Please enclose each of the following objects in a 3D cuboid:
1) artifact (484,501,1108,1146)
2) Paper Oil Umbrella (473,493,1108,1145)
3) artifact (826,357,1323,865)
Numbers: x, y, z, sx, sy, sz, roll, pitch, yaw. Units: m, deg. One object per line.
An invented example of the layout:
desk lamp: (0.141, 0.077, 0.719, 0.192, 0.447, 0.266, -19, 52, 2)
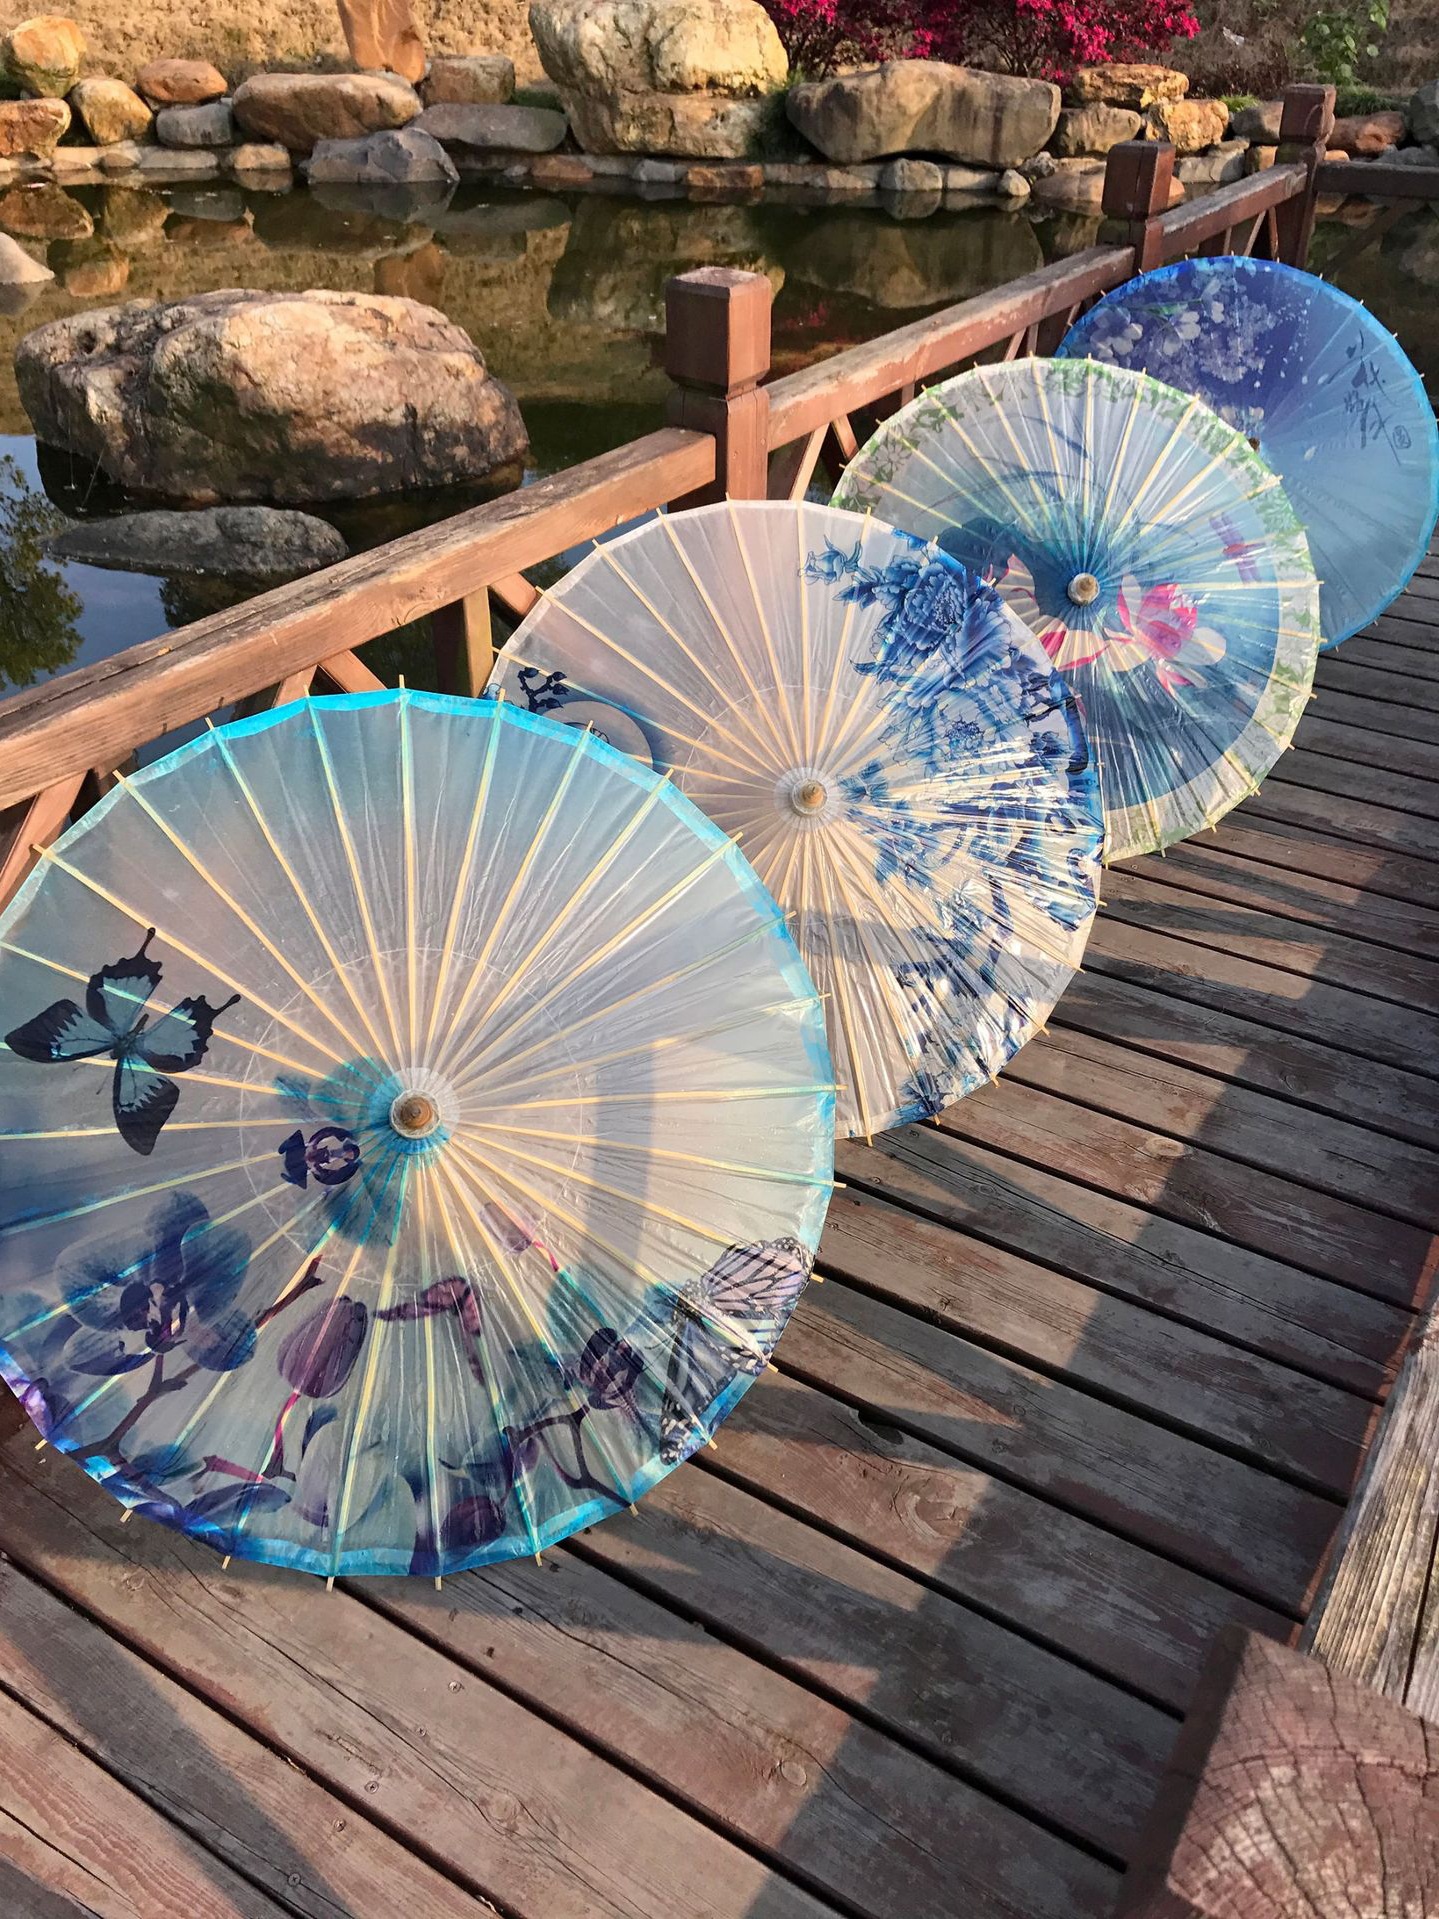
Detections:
artifact: (0.051, -0.168, 2.429, 0.925, 0.225, 0.853, -6, 79, -31)
Paper Oil Umbrella: (0.063, -0.139, 2.480, 0.930, 0.229, 0.856, -6, 78, -31)
artifact: (0.628, -0.586, 2.996, 0.912, 0.235, 0.831, -10, 89, -15)
